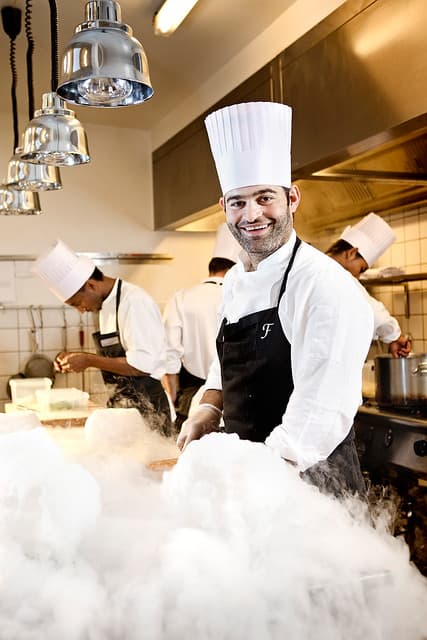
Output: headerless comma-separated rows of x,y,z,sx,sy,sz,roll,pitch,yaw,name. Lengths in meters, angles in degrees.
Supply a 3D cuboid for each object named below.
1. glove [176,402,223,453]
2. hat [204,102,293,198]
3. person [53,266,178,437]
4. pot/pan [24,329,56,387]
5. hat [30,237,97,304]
-0.025,0.239,1.094,0.068,0.058,0.194,-1,15,18,glove
0.079,-0.394,1.126,0.215,0.166,0.225,-2,-4,-12,hat
-0.492,0.161,2.486,0.610,0.852,0.469,4,10,19,person
-1.435,0.309,3.842,0.213,0.456,0.183,4,10,20,pot/pan
-0.782,-0.271,2.576,0.265,0.232,0.312,-45,9,1,hat
